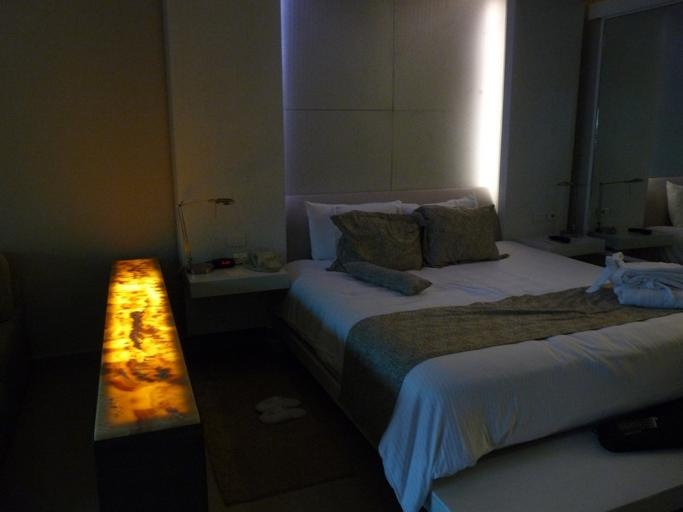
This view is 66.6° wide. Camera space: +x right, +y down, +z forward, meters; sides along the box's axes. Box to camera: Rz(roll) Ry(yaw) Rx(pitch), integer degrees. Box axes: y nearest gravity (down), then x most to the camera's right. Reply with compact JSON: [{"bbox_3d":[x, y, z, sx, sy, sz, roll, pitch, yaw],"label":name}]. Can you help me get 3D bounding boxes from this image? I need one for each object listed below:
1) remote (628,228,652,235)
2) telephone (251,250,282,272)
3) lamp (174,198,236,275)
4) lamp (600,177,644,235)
[{"bbox_3d":[2.672,-0.222,4.616,0.035,0.032,0.173,21,8,-29],"label":"remote"},{"bbox_3d":[-0.572,0.046,3.945,0.171,0.077,0.174,0,23,-18],"label":"telephone"},{"bbox_3d":[-1.026,-0.172,3.919,0.390,0.522,0.197,-8,14,-17],"label":"lamp"},{"bbox_3d":[2.584,-0.477,4.802,0.345,0.510,0.483,-5,9,-19],"label":"lamp"}]
